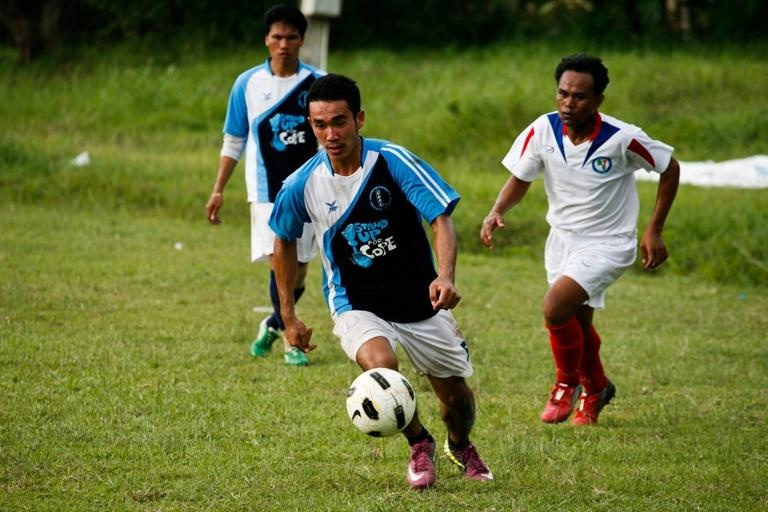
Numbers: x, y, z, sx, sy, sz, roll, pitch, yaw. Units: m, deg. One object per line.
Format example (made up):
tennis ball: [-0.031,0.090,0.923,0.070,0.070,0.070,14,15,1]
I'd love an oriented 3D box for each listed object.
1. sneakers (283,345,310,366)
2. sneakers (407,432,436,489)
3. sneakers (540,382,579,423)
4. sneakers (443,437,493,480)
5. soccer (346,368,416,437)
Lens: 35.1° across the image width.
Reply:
sneakers: [-0.805,0.925,11.336,0.179,0.158,0.341,-1,2,-29]
sneakers: [0.308,1.660,9.787,0.159,0.217,0.486,-2,45,8]
sneakers: [1.565,1.246,10.750,0.172,0.231,0.507,11,32,23]
sneakers: [0.687,1.663,9.976,0.536,0.191,0.213,48,-8,3]
soccer: [-0.014,1.132,9.514,0.541,0.511,0.208,3,11,-1]
